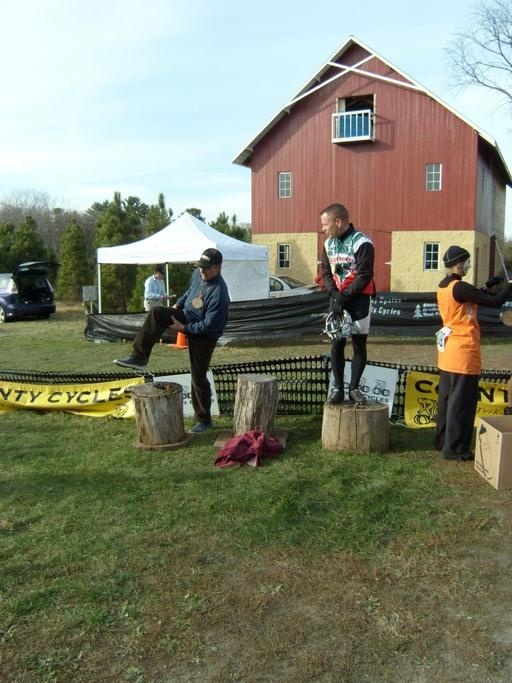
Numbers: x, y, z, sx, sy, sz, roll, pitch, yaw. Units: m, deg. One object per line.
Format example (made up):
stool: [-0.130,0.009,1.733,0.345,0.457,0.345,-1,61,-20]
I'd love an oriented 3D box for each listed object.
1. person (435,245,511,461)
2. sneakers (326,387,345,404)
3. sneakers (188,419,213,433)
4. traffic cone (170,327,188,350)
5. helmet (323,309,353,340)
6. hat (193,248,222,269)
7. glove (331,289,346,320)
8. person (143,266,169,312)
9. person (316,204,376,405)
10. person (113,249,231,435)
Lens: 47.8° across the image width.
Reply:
person: [1.658,0.107,4.474,0.315,1.664,0.640,-5,9,-21]
sneakers: [0.701,0.483,5.033,0.074,0.146,0.216,-4,-16,27]
sneakers: [-0.560,0.864,5.836,0.076,0.095,0.231,-3,-2,45]
traffic cone: [-1.323,-0.032,9.950,0.403,0.476,0.409,0,2,7]
helmet: [0.696,-0.140,4.945,0.213,0.218,0.242,0,10,9]
hat: [-0.455,-0.769,5.476,0.163,0.130,0.241,26,28,26]
glove: [0.680,-0.308,4.858,0.092,0.221,0.173,-4,9,-12]
person: [-2.096,-0.831,12.349,0.503,1.445,0.501,-1,2,-29]
person: [0.793,-0.295,5.002,0.447,1.742,0.645,-1,9,7]
person: [-0.833,0.003,5.649,1.073,1.809,0.686,0,15,-31]
